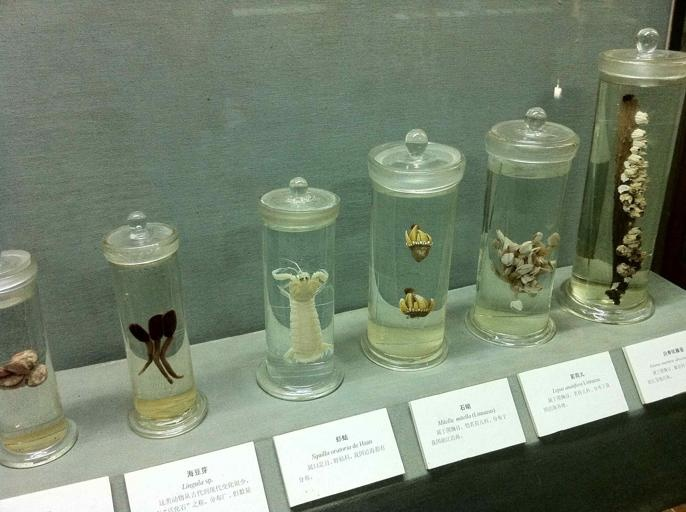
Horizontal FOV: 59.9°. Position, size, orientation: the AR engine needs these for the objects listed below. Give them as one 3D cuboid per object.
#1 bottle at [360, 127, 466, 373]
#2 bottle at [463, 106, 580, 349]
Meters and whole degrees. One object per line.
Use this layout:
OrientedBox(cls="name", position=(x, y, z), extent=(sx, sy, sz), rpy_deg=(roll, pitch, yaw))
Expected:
OrientedBox(cls="bottle", position=(0.140, -0.015, 1.328), extent=(0.213, 0.512, 0.285), rpy_deg=(14, 36, 33))
OrientedBox(cls="bottle", position=(0.410, -0.064, 1.394), extent=(0.232, 0.527, 0.282), rpy_deg=(4, 32, 20))
